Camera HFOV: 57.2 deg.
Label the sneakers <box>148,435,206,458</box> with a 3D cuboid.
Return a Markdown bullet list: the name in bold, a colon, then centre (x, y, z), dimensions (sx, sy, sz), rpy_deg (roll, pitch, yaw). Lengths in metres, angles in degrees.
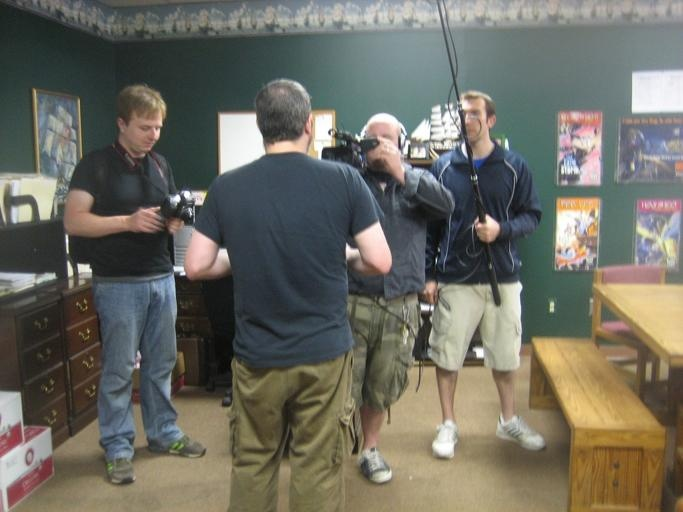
- **sneakers**: centre (-1.027, 1.178, 3.988), dimensions (0.374, 0.182, 0.140), rpy_deg (1, 0, -3)

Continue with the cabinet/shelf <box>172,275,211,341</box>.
- **cabinet/shelf**: centre (-1.161, 0.403, 5.076), dimensions (0.437, 0.485, 0.138), rpy_deg (-3, -5, 32)

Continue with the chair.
- **chair**: centre (2.096, 0.570, 4.762), dimensions (0.458, 0.814, 0.485), rpy_deg (21, 12, 18)

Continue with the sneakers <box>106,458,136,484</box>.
- **sneakers**: centre (-1.292, 1.256, 3.670), dimensions (0.086, 0.108, 0.222), rpy_deg (3, -7, -27)

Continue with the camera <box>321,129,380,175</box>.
- **camera**: centre (0.014, -0.554, 3.322), dimensions (0.179, 0.117, 0.305), rpy_deg (12, 2, -22)

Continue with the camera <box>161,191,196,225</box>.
- **camera**: centre (-0.914, -0.261, 3.509), dimensions (0.150, 0.211, 0.207), rpy_deg (6, 4, 35)

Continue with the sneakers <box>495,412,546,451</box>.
- **sneakers**: centre (1.133, 1.096, 4.026), dimensions (0.318, 0.172, 0.141), rpy_deg (8, 16, 32)

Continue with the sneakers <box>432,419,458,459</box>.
- **sneakers**: centre (0.664, 1.140, 3.992), dimensions (0.127, 0.128, 0.347), rpy_deg (-4, 14, 22)

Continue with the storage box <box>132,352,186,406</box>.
- **storage box**: centre (-1.457, 0.915, 4.884), dimensions (0.478, 0.257, 0.370), rpy_deg (-3, -1, -12)
